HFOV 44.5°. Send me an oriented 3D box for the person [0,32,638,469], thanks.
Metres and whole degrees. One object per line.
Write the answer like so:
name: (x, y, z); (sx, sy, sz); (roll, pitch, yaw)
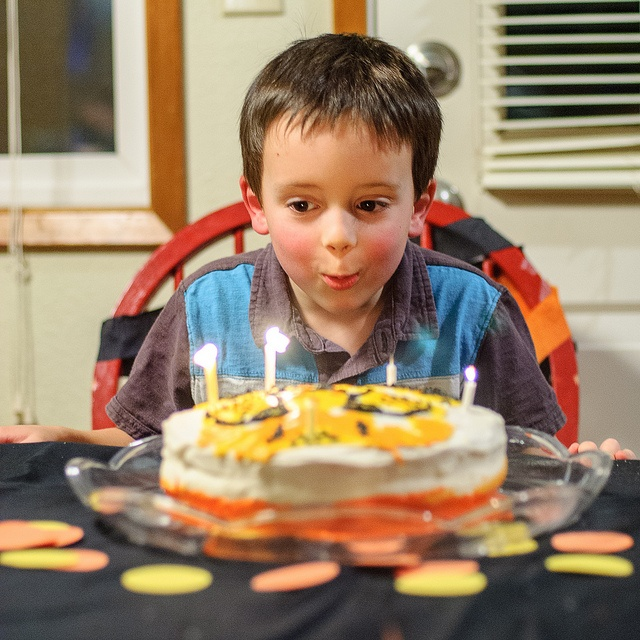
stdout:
person: (-0.049, -0.154, 1.169); (1.024, 0.691, 0.433); (0, 6, -1)
